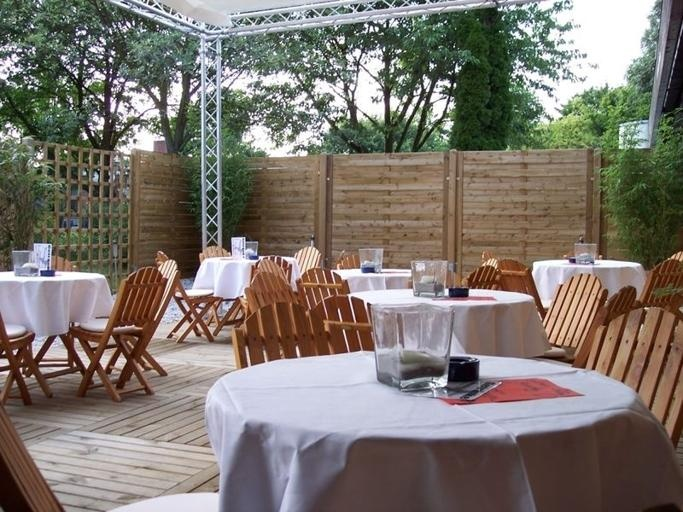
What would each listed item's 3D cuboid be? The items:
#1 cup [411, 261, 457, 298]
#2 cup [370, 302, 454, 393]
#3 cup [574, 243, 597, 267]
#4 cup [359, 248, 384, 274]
[{"bbox_3d":[0.656,0.157,3.904,0.262,0.251,0.232,-1,2,8],"label":"cup"},{"bbox_3d":[0.215,0.282,1.794,0.243,0.298,0.232,2,-4,0],"label":"cup"},{"bbox_3d":[3.112,-0.010,7.119,0.252,0.277,0.259,0,-1,0],"label":"cup"},{"bbox_3d":[0.318,0.049,5.829,0.218,0.246,0.236,1,4,0],"label":"cup"}]
